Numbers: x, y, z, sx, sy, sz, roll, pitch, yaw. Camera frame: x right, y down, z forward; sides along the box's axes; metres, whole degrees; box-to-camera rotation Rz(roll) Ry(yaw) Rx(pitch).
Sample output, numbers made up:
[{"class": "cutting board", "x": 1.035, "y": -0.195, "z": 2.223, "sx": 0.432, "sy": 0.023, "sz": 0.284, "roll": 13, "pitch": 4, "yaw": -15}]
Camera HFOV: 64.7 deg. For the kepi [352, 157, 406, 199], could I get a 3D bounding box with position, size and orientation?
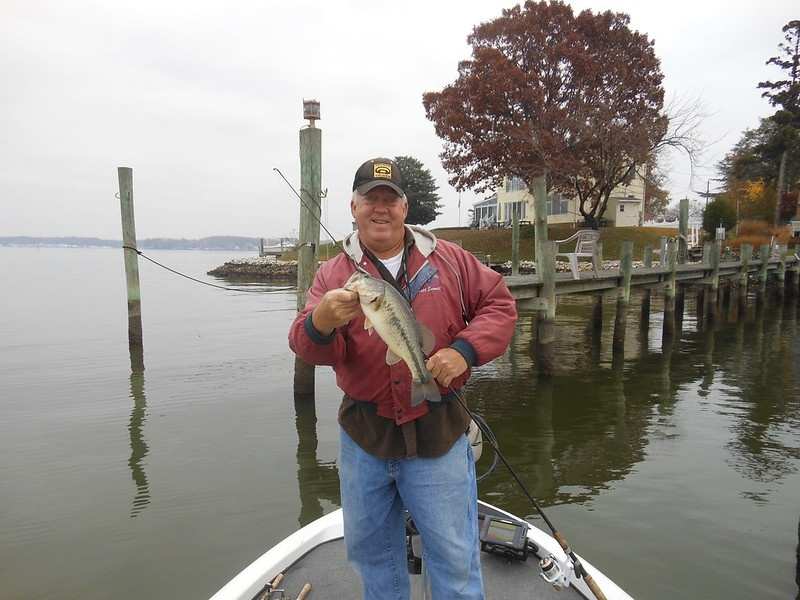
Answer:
[{"class": "kepi", "x": -0.186, "y": -1.100, "z": 5.721, "sx": 0.474, "sy": 0.412, "sz": 0.692, "roll": 2, "pitch": 5, "yaw": -12}]
